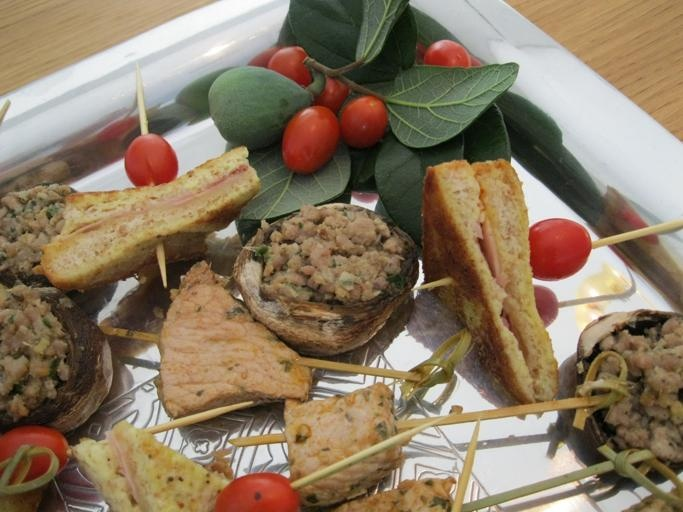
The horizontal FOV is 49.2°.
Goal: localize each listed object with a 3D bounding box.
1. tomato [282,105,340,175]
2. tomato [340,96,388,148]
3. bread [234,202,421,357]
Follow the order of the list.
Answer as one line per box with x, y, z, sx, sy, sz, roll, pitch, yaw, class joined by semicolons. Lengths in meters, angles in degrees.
-0.135;-0.509;3.296;0.281;0.355;0.251;6;79;-5;tomato
0.093;-0.590;3.309;0.236;0.225;0.239;12;95;3;tomato
-0.075;0.055;3.033;0.617;0.309;0.606;35;69;10;bread
